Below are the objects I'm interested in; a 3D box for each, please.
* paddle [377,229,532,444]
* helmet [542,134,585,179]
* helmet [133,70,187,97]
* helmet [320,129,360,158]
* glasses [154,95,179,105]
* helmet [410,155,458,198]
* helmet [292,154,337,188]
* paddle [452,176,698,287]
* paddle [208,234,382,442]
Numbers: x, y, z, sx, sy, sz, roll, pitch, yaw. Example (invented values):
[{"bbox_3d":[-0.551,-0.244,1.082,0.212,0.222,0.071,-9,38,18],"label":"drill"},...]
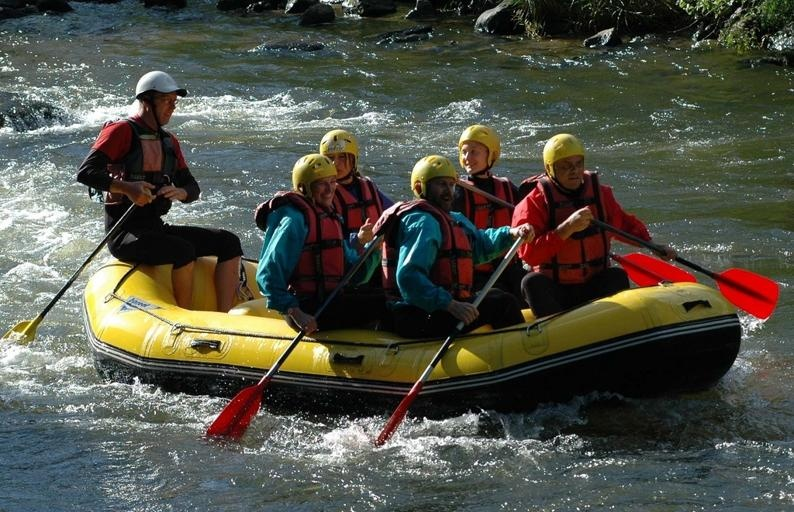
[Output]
[{"bbox_3d":[0.510,0.774,9.571,2.609,0.190,0.214,-47,36,-21],"label":"paddle"},{"bbox_3d":[1.590,-0.957,10.095,0.367,0.412,0.269,16,22,38],"label":"helmet"},{"bbox_3d":[-2.387,-1.729,10.648,0.549,0.212,0.359,-6,9,11],"label":"helmet"},{"bbox_3d":[-0.571,-1.100,10.796,0.332,0.350,0.276,8,36,-8],"label":"helmet"},{"bbox_3d":[-2.308,-1.580,10.624,0.170,0.035,0.123,1,-7,-32],"label":"glasses"},{"bbox_3d":[0.317,-0.726,9.860,0.387,0.353,0.471,-3,-1,-42],"label":"helmet"},{"bbox_3d":[-0.762,-0.788,9.941,0.392,0.335,0.250,2,17,0],"label":"helmet"},{"bbox_3d":[1.751,-0.210,10.576,3.586,0.199,0.410,17,39,6],"label":"paddle"},{"bbox_3d":[-0.881,0.821,9.841,3.059,0.310,0.180,-39,13,-19],"label":"paddle"}]
